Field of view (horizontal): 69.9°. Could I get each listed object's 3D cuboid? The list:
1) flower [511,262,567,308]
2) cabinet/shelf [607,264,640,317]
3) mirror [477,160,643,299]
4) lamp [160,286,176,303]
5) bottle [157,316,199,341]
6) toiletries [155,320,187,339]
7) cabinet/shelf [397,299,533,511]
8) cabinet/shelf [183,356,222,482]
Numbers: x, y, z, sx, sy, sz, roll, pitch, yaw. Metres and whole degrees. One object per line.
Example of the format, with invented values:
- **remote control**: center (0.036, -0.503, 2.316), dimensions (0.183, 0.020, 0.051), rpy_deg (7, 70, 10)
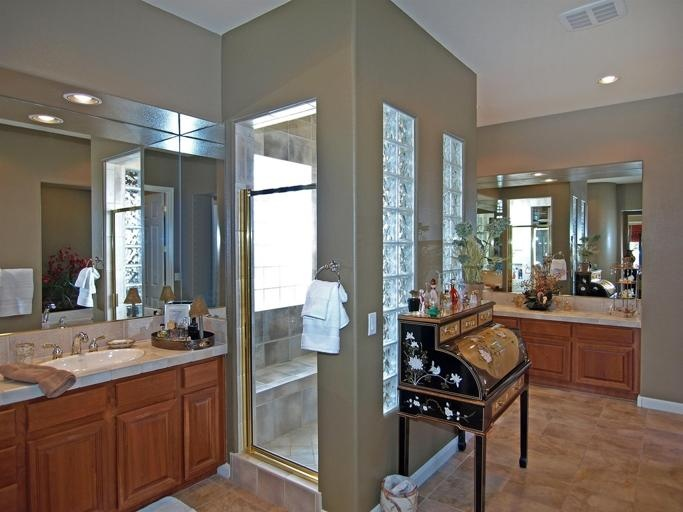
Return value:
- **flower**: center (2.688, 0.287, 6.619), dimensions (0.532, 0.840, 0.697), rpy_deg (4, 4, 32)
- **cabinet/shelf**: center (3.435, 0.356, 5.918), dimensions (0.302, 0.572, 0.176), rpy_deg (5, 11, 31)
- **mirror**: center (2.903, -0.434, 6.395), dimensions (1.785, 1.268, 0.954), rpy_deg (-1, -2, 42)
- **lamp**: center (-1.539, 0.323, 4.316), dimensions (0.124, 0.170, 0.132), rpy_deg (-4, 6, -23)
- **bottle**: center (-1.386, 0.630, 4.166), dimensions (0.273, 0.115, 0.210), rpy_deg (0, 1, -19)
- **toiletries**: center (-1.448, 0.633, 4.133), dimensions (0.222, 0.094, 0.160), rpy_deg (0, 2, -26)
- **cabinet/shelf**: center (0.939, 1.218, 3.883), dimensions (0.889, 1.869, 1.526), rpy_deg (-2, -2, 33)
- **cabinet/shelf**: center (-1.138, 1.329, 4.039), dimensions (0.118, 0.920, 0.475), rpy_deg (6, 11, 36)
